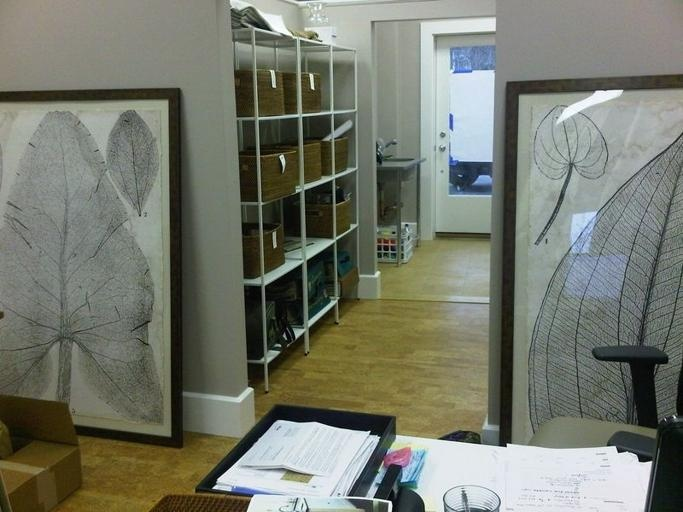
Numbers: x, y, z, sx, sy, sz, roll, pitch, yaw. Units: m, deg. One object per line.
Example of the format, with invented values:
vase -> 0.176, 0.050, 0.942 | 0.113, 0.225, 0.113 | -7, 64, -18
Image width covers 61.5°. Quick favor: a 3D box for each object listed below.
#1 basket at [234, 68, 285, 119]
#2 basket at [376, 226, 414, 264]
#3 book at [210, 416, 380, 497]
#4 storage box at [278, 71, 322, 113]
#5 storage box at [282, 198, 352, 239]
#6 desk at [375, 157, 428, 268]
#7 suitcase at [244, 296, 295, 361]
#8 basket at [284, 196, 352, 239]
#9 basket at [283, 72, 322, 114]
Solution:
basket -> -0.506, -1.005, 3.561 | 0.199, 0.275, 0.454 | -1, 14, 10
basket -> 0.649, -0.148, 6.646 | 0.310, 0.208, 0.499 | 0, 9, 11
book -> -0.106, 0.521, 1.465 | 0.329, 0.053, 0.346 | 3, 15, 22
storage box -> -0.269, -1.161, 4.093 | 0.300, 0.346, 0.510 | 6, 19, 16
storage box -> -0.209, -0.312, 4.744 | 0.378, 0.236, 0.387 | 2, 10, 16
desk -> 0.692, -0.511, 6.640 | 0.682, 0.968, 1.056 | 2, 19, 8
suitcase -> -0.458, 0.461, 3.934 | 0.307, 0.402, 0.589 | 0, 5, 8
basket -> -0.207, -0.302, 4.757 | 0.377, 0.236, 0.387 | 2, 10, 16
basket -> -0.286, -1.148, 4.044 | 0.222, 0.255, 0.375 | 6, 19, 18
